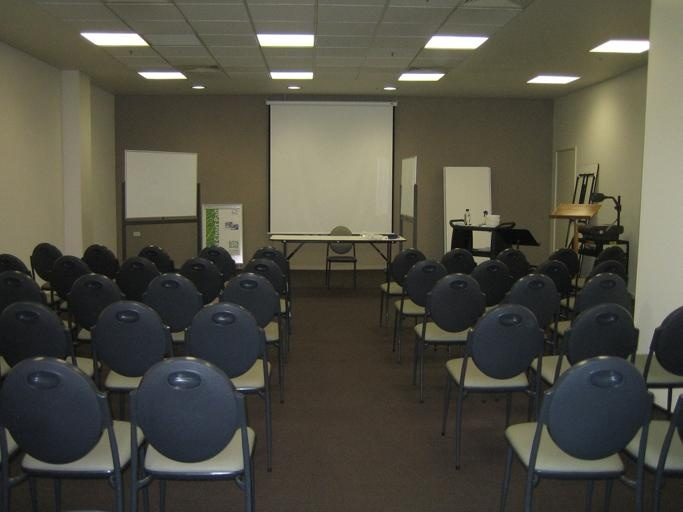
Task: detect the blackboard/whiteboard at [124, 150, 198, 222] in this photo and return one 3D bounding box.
[{"bbox_3d":[-3.001,-1.126,9.104,0.114,1.055,1.136,3,5,37],"label":"blackboard/whiteboard"}]
